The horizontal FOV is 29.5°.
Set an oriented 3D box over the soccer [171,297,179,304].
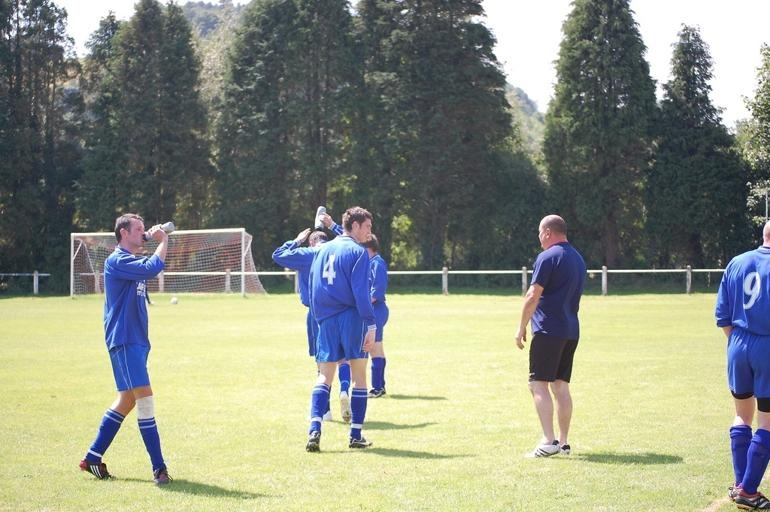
[{"bbox_3d":[-11.693,2.489,81.049,0.358,0.315,0.425,-2,3,-32],"label":"soccer"}]
